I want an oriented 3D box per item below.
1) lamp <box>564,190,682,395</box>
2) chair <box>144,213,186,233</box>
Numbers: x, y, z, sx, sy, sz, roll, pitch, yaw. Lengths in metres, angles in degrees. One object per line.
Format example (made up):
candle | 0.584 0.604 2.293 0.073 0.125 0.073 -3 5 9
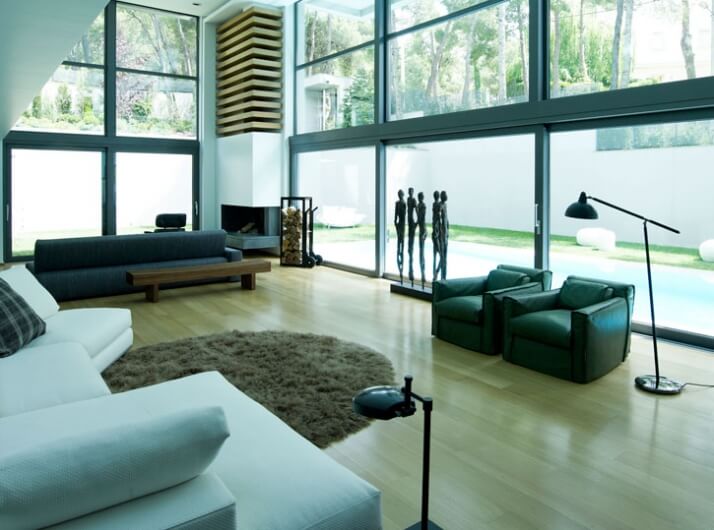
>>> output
lamp | 2.563 0.061 5.417 1.061 1.542 2.269 5 12 21
chair | -3.486 -0.746 10.188 0.504 0.319 0.477 -2 11 -22
